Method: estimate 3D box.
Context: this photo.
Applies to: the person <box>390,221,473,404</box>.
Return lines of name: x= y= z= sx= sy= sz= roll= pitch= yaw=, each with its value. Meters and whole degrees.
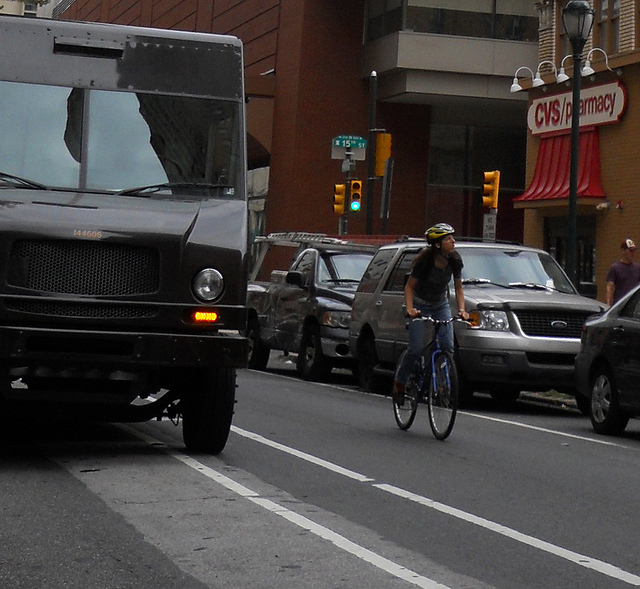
person: x=1.321 y=0.256 z=7.807 sx=0.892 sy=2.282 sz=0.869 roll=-9 pitch=18 yaw=-41

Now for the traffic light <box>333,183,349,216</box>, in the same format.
traffic light: x=0.813 y=-3.724 z=25.002 sx=0.520 sy=1.247 sz=1.336 roll=2 pitch=4 yaw=0

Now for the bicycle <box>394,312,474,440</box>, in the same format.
bicycle: x=1.319 y=1.044 z=7.546 sx=0.610 sy=1.164 sz=1.604 roll=3 pitch=0 yaw=-14

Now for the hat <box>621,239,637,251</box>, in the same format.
hat: x=6.581 y=-1.057 z=13.880 sx=0.216 sy=0.315 sz=0.354 roll=-5 pitch=0 yaw=-33

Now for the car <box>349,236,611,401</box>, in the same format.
car: x=2.377 y=0.404 z=11.731 sx=2.170 sy=2.387 sz=4.367 roll=2 pitch=-3 yaw=-19

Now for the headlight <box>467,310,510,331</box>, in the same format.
headlight: x=2.597 y=0.401 z=10.010 sx=0.588 sy=0.316 sz=0.525 roll=-2 pitch=-1 yaw=4
